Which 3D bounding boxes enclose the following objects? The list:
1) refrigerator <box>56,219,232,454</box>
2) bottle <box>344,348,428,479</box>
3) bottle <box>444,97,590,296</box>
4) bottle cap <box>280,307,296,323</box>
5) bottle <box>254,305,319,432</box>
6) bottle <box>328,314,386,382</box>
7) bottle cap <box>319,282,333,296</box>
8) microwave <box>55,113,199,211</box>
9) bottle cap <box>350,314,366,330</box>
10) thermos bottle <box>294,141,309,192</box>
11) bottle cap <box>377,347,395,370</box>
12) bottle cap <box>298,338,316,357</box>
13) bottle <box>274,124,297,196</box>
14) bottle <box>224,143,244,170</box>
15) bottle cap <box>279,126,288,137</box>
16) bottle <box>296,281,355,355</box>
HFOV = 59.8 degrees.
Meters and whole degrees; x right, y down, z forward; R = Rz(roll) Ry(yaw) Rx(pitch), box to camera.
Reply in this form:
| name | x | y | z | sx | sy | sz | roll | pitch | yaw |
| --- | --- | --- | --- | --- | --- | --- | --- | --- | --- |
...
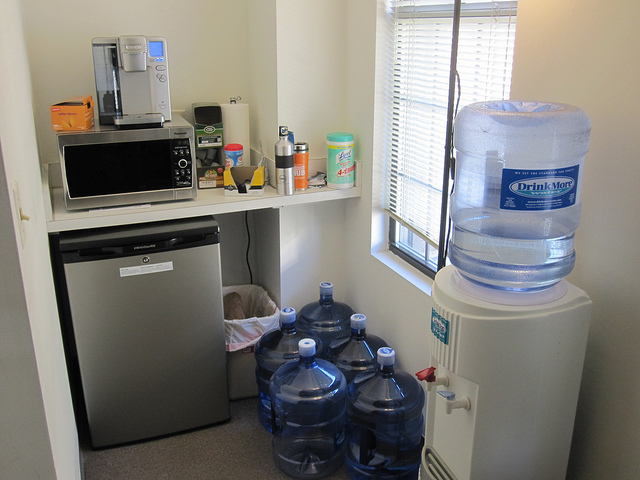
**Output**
| name | x | y | z | sx | sy | sz | roll | pitch | yaw |
| --- | --- | --- | --- | --- | --- | --- | --- | --- | --- |
| refrigerator | -0.900 | 0.346 | 2.892 | 0.687 | 1.098 | 0.767 | -8 | 22 | -24 |
| bottle | 0.278 | 0.778 | 2.399 | 0.376 | 0.628 | 0.307 | -1 | 19 | 6 |
| bottle | 0.582 | -0.137 | 1.697 | 0.395 | 0.521 | 0.364 | -3 | 19 | 1 |
| bottle cap | -0.150 | 0.354 | 2.689 | 0.063 | 0.055 | 0.063 | -18 | 31 | -32 |
| bottle | -0.158 | 0.622 | 2.839 | 0.346 | 0.583 | 0.367 | -3 | 25 | 1 |
| bottle | 0.154 | 0.522 | 2.740 | 0.204 | 0.245 | 0.209 | 18 | -18 | -24 |
| bottle cap | 0.034 | 0.244 | 2.840 | 0.057 | 0.052 | 0.059 | -9 | 25 | -18 |
| microwave | -0.886 | -0.212 | 2.677 | 0.635 | 0.498 | 0.404 | -10 | 64 | -7 |
| bottle cap | 0.177 | 0.375 | 2.604 | 0.061 | 0.059 | 0.060 | -10 | 27 | -21 |
| thermos bottle | -0.090 | -0.373 | 2.815 | 0.070 | 0.229 | 0.170 | -2 | 19 | 3 |
| bottle cap | 0.276 | 0.490 | 2.322 | 0.074 | 0.077 | 0.080 | 4 | 12 | 24 |
| bottle cap | -0.055 | 0.480 | 2.467 | 0.068 | 0.072 | 0.087 | -2 | 19 | 4 |
| bottle | -0.173 | -0.398 | 2.767 | 0.111 | 0.328 | 0.186 | -5 | 19 | -6 |
| bottle | -0.445 | -0.434 | 2.868 | 0.099 | 0.113 | 0.169 | -6 | 19 | -8 |
| bottle cap | -0.171 | -0.514 | 2.676 | 0.043 | 0.052 | 0.045 | 5 | 25 | 8 |
| bottle | 0.019 | 0.409 | 2.824 | 0.233 | 0.384 | 0.237 | -1 | 16 | 0 |
